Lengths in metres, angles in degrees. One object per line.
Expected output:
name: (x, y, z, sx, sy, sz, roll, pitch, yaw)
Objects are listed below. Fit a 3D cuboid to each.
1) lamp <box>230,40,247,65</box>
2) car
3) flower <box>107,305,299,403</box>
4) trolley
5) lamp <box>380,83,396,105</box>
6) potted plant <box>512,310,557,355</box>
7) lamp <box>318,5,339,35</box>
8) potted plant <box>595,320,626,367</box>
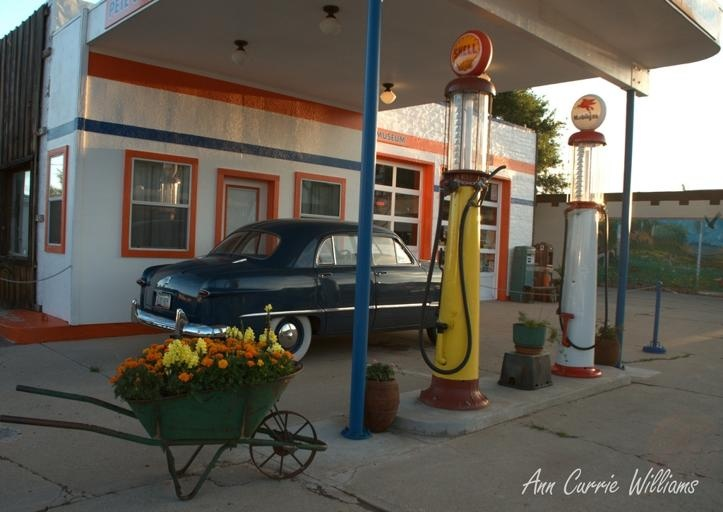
lamp: (-2.009, -3.331, 9.860, 0.290, 0.413, 0.290, -2, 7, -40)
car: (-0.923, 0.384, 8.786, 4.364, 1.598, 2.090, -2, 4, -40)
flower: (-1.372, 1.061, 5.296, 1.638, 0.651, 1.008, -10, -20, 1)
trolley: (-1.852, 1.313, 5.318, 3.085, 1.208, 1.162, 1, -4, -18)
lamp: (0.472, -3.162, 11.726, 0.363, 0.412, 0.358, 5, 4, 43)
potted plant: (2.136, 1.002, 7.686, 0.484, 0.519, 0.489, 11, -8, -34)
lamp: (-0.456, -3.387, 8.634, 0.292, 0.413, 0.300, 8, 10, 28)
potted plant: (3.672, 1.296, 9.046, 0.485, 0.812, 0.573, -1, -2, 21)
